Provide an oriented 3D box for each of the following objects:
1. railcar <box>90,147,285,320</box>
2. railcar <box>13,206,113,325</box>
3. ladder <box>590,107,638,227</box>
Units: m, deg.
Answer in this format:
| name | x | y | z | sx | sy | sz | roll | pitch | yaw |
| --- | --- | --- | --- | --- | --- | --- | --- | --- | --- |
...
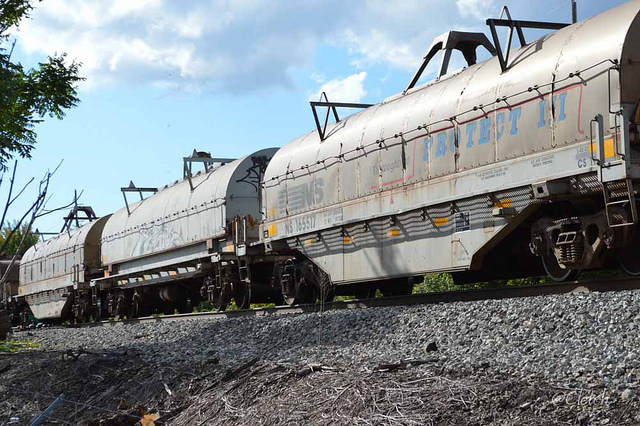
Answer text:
| name | x | y | z | sx | sy | sz | roll | pitch | yaw |
| --- | --- | --- | --- | --- | --- | --- | --- | --- | --- |
| railcar | -5.808 | 1.156 | 25.663 | 4.728 | 7.016 | 11.901 | 3 | -12 | -44 |
| railcar | -15.035 | 3.478 | 35.226 | 12.215 | 6.484 | 4.209 | -13 | -10 | 41 |
| ladder | 5.295 | -0.806 | 10.400 | 0.667 | 2.064 | 0.735 | -7 | 7 | 28 |
